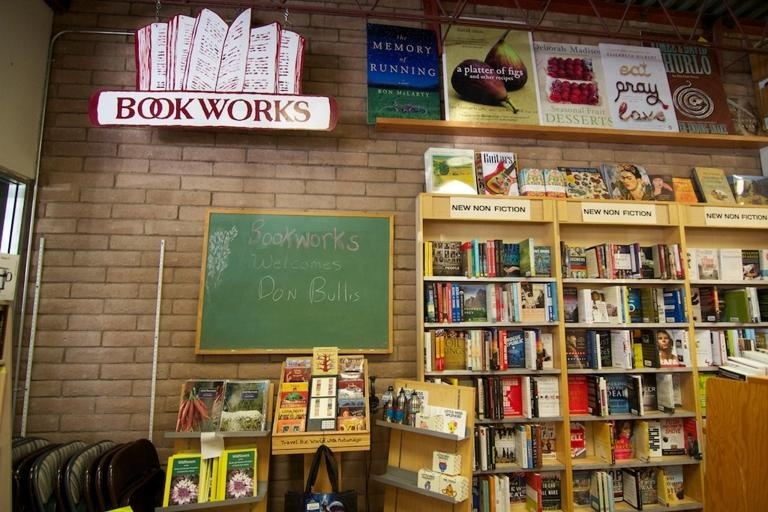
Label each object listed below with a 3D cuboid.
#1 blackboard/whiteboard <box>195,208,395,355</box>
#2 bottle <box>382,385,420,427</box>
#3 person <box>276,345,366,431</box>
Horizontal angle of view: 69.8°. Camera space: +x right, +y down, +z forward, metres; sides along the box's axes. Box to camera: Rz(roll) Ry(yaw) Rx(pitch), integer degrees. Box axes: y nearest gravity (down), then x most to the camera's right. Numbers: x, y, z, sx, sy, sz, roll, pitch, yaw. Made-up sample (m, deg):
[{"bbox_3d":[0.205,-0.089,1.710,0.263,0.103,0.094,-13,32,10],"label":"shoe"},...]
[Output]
[{"bbox_3d":[-0.962,0.310,5.474,1.766,1.102,0.062,0,-11,-3],"label":"blackboard/whiteboard"},{"bbox_3d":[0.168,1.380,5.047,0.435,0.373,0.162,-1,-15,11],"label":"bottle"},{"bbox_3d":[-0.561,1.200,4.974,0.820,0.723,0.291,-2,-7,-3],"label":"person"}]
